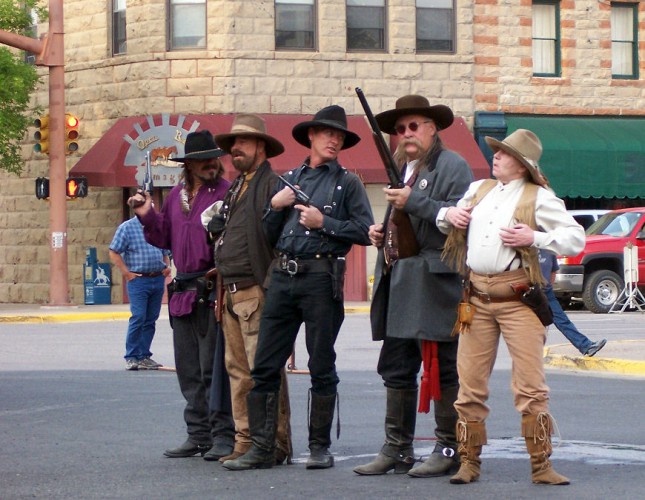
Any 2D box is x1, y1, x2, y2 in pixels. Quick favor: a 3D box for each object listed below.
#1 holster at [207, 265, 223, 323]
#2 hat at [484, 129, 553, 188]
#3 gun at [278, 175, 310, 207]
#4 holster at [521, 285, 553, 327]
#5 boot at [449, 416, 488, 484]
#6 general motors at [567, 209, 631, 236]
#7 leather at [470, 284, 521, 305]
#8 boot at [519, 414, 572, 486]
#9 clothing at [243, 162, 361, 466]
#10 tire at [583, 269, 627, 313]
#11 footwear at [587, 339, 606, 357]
[{"bbox_3d":[-1.208,0.503,14.930,0.145,0.664,0.221,-10,14,-35],"label":"holster"},{"bbox_3d":[2.171,-1.013,14.174,0.266,0.692,0.560,-54,15,-21],"label":"hat"},{"bbox_3d":[-0.291,-0.649,14.612,0.262,0.339,0.515,-3,2,-37],"label":"gun"},{"bbox_3d":[2.221,0.578,14.043,0.335,0.413,0.167,-40,15,-33],"label":"holster"},{"bbox_3d":[1.495,2.081,14.030,0.393,0.650,0.212,-2,2,-5],"label":"boot"},{"bbox_3d":[5.916,-0.668,28.706,0.861,0.643,1.583,1,-5,-33],"label":"general motors"},{"bbox_3d":[1.801,0.447,14.033,0.574,0.196,0.105,0,2,27],"label":"leather"},{"bbox_3d":[2.290,2.034,13.963,0.464,0.751,0.213,-2,2,5],"label":"boot"},{"bbox_3d":[-0.202,0.569,14.637,1.700,3.507,1.213,-1,-13,9],"label":"clothing"},{"bbox_3d":[5.634,0.797,27.203,1.030,0.885,0.307,1,5,-28],"label":"tire"},{"bbox_3d":[3.981,1.437,19.767,0.284,0.131,0.101,-39,11,11],"label":"footwear"}]
